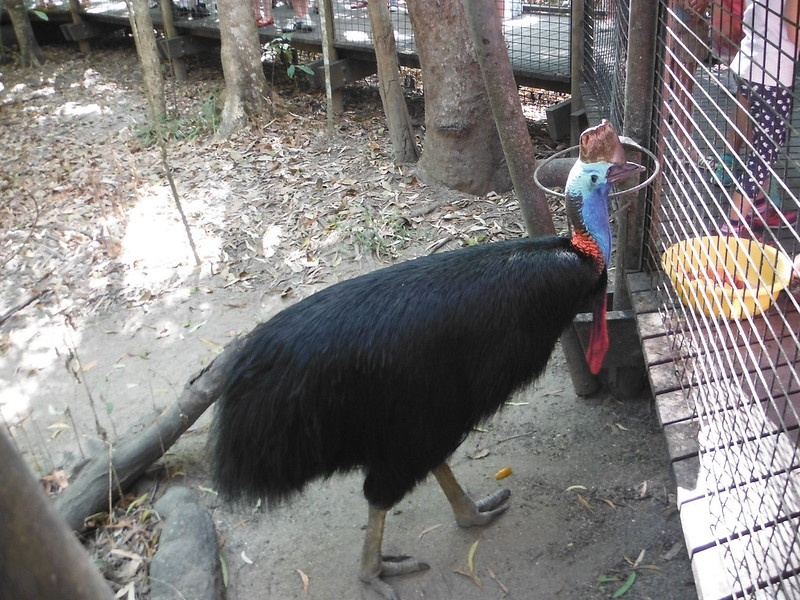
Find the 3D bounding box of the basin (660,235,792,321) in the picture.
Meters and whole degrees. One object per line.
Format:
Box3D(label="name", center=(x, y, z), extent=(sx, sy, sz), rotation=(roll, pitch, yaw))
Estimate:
Box3D(label="basin", center=(1.387, -0.111, 2.605), extent=(0.461, 0.211, 0.510), rotation=(-12, 31, -11))
